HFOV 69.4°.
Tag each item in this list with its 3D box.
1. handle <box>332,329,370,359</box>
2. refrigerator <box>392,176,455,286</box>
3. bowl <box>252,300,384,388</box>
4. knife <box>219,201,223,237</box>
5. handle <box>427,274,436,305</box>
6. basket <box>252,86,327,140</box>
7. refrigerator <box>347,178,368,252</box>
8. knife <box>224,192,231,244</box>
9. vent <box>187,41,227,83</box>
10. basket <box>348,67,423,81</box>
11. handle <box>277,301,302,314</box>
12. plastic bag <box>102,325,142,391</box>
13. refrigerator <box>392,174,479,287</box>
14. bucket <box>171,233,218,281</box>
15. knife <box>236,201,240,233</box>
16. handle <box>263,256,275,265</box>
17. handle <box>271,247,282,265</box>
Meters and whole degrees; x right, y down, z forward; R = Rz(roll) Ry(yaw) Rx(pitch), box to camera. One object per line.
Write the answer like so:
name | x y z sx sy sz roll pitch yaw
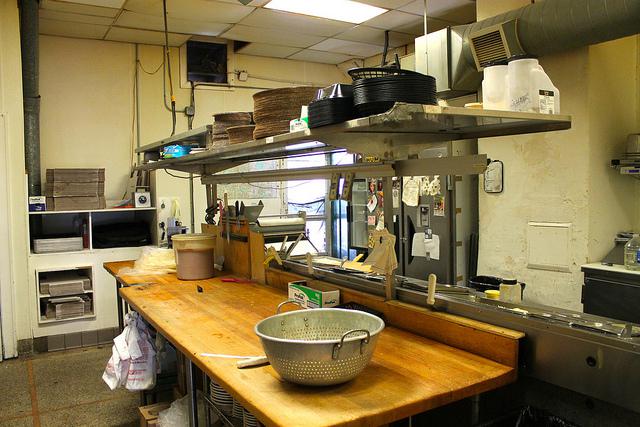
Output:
handle | 0.151 0.634 2.271 0.125 0.117 0.188 -1 7 -15
refrigerator | 1.277 0.190 5.687 0.310 1.303 0.949 -11 15 -27
bowl | 0.001 0.698 2.431 0.566 0.352 0.534 -3 12 1
knife | -0.982 0.035 4.627 0.043 0.321 0.035 -7 -10 43
handle | 0.680 0.455 2.832 0.042 0.214 0.140 -1 13 13
basket | -0.261 -0.681 3.122 0.488 0.333 0.226 3 14 26
refrigerator | 0.587 0.009 7.286 0.321 1.104 0.585 -3 13 4
knife | -0.880 0.055 4.449 0.066 0.472 0.040 1 0 22
vent | -1.569 -2.115 6.356 0.651 0.588 0.341 1 0 -26
basket | 0.327 -0.746 2.425 0.352 0.067 0.103 -2 12 6
handle | -0.182 0.585 2.809 0.140 0.037 0.143 1 0 3
plastic bag | -1.526 1.111 3.570 0.278 0.435 0.228 -11 15 -29
refrigerator | 1.402 0.193 5.634 0.979 1.306 0.617 0 13 16
bucket | -1.143 0.409 4.321 0.437 0.382 0.431 -2 -1 0
knife | -0.764 0.044 4.343 0.046 0.309 0.033 -5 -9 15
handle | -0.433 0.400 4.007 0.033 0.035 0.126 -16 13 40
handle | -0.372 0.368 3.975 0.031 0.008 0.183 -26 30 -5
